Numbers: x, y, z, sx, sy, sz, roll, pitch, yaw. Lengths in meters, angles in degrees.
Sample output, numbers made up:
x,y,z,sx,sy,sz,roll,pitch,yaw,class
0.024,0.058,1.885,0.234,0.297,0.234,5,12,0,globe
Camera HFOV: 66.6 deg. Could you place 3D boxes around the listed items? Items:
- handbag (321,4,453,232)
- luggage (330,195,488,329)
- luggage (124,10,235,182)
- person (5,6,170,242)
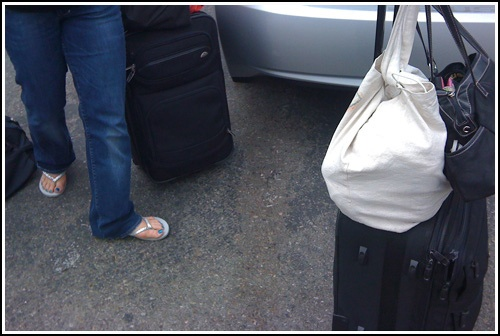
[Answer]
x,y,z,sx,sy,sz,roll,pitch,yaw,class
0.533,-0.111,1.672,0.678,0.881,0.516,15,71,8,handbag
0.713,0.333,1.991,0.644,0.910,0.666,5,32,13,luggage
-0.437,-0.458,2.592,0.766,1.010,0.768,-5,54,-23,luggage
-1.031,-0.223,2.222,0.945,1.329,0.616,-1,41,5,person
